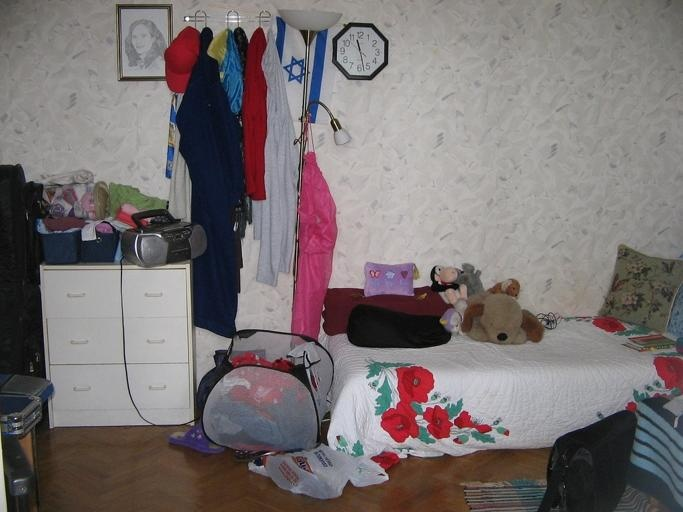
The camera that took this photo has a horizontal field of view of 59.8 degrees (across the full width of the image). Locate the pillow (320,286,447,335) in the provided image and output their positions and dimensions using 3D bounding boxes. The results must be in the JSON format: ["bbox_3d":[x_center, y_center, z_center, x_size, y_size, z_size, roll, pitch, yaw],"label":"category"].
[{"bbox_3d":[0.262,0.307,3.856,0.575,0.187,0.369,1,23,-2],"label":"pillow"}]

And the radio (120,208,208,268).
[{"bbox_3d":[-1.065,-0.118,3.551,0.350,0.309,0.461,6,14,35],"label":"radio"}]

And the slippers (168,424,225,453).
[{"bbox_3d":[-0.843,1.029,3.454,0.314,0.142,0.146,1,5,25],"label":"slippers"}]

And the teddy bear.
[{"bbox_3d":[0.910,0.355,3.894,0.435,0.249,0.627,7,19,-15],"label":"teddy bear"}]

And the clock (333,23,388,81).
[{"bbox_3d":[0.116,-1.336,3.828,0.326,0.335,0.046,1,5,-3],"label":"clock"}]

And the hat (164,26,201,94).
[{"bbox_3d":[-0.982,-1.211,3.661,0.229,0.401,0.142,3,11,-6],"label":"hat"}]
